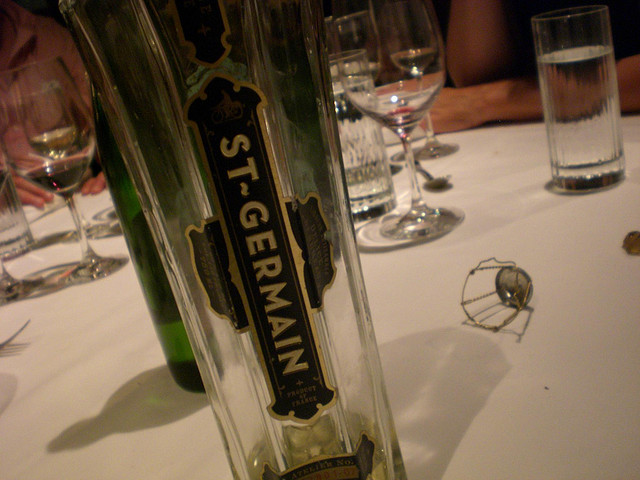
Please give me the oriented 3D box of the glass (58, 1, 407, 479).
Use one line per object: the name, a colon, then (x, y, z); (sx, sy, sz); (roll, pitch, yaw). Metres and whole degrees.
glass: (-0.054, 0.004, 0.358); (0.164, 0.346, 0.104); (-11, 22, 1)
